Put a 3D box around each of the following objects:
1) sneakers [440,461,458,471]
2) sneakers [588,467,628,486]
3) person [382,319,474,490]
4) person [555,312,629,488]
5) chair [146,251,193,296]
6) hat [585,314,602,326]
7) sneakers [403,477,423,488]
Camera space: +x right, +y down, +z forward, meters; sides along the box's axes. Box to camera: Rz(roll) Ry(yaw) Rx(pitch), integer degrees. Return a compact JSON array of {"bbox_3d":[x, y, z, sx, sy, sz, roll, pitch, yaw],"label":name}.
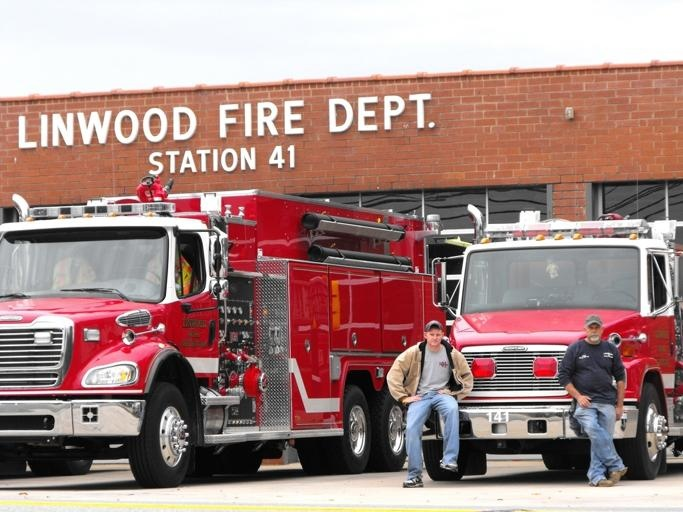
[{"bbox_3d":[1.382,2.700,15.908,0.112,0.135,0.332,1,-12,18],"label":"sneakers"},{"bbox_3d":[3.283,2.755,15.416,0.427,0.217,0.276,-2,-5,9],"label":"sneakers"},{"bbox_3d":[1.173,1.903,15.996,1.085,2.072,0.582,-1,-5,-6],"label":"person"},{"bbox_3d":[3.147,1.820,15.586,0.842,2.111,0.455,-1,-5,1],"label":"person"},{"bbox_3d":[-2.249,0.249,15.951,0.685,0.611,0.401,-3,10,-36],"label":"chair"},{"bbox_3d":[3.152,0.826,15.649,0.189,0.147,0.295,-2,-5,10],"label":"hat"},{"bbox_3d":[0.887,2.874,15.657,0.255,0.099,0.104,3,-6,-10],"label":"sneakers"}]
